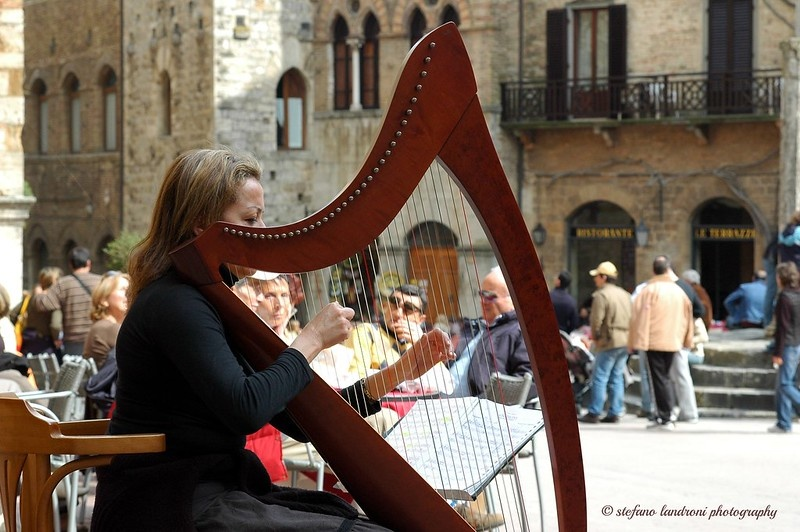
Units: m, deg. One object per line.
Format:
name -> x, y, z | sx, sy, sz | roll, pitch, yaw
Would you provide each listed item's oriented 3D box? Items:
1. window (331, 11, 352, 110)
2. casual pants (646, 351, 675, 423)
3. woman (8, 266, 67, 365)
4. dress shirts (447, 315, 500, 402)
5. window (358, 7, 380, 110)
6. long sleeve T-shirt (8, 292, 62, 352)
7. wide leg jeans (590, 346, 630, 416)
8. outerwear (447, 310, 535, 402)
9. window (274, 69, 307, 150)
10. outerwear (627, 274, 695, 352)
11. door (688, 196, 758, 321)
window -> -0.998, -3.943, 25.730 | 0.444, 1.845, 0.079 | 5, 11, 34
casual pants -> 3.178, 1.403, 15.933 | 0.335, 0.842, 0.310 | -1, -2, -8
woman -> -4.035, 0.565, 14.890 | 0.521, 1.361, 0.455 | 20, 36, 10
dress shirts -> 0.628, 0.807, 12.034 | 0.470, 0.627, 0.227 | -2, 3, 22
window -> -0.491, -3.965, 25.627 | 0.452, 1.821, 0.078 | -7, 13, -37
long sleeve T-shirt -> -4.163, 0.604, 15.100 | 0.582, 0.642, 0.387 | 0, 14, -28
wide leg jeans -> 2.619, 1.341, 16.367 | 0.432, 1.012, 0.310 | 0, 11, -16
outerwear -> 0.804, 0.893, 12.797 | 1.038, 0.995, 0.573 | 4, -5, 11
window -> -2.136, -3.069, 25.946 | 0.657, 1.692, 0.094 | 0, -10, 0
outerwear -> 3.170, 0.578, 15.980 | 0.873, 0.904, 0.502 | 1, 12, -4
door -> 5.735, -0.266, 23.503 | 1.015, 2.358, 0.202 | 0, 29, 11
